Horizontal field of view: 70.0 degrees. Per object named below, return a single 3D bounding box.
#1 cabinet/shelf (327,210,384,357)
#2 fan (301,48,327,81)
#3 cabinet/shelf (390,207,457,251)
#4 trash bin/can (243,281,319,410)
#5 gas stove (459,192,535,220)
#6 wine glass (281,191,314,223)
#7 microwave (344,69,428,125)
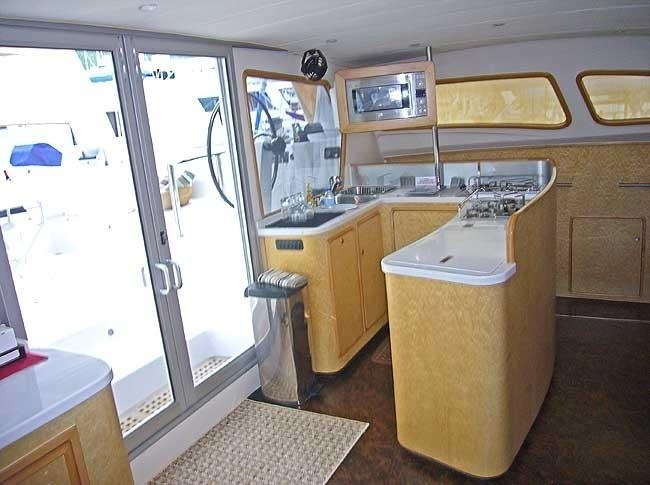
[{"bbox_3d":[0.235,0.356,3.884,0.335,0.987,0.986,-1,16,22],"label":"cabinet/shelf"},{"bbox_3d":[-0.082,-1.525,3.979,0.233,0.278,0.099,9,-1,-11],"label":"fan"},{"bbox_3d":[0.895,-0.015,4.265,0.581,0.586,0.324,1,6,17],"label":"cabinet/shelf"},{"bbox_3d":[-0.325,0.765,3.416,0.386,0.865,0.289,-7,12,-4],"label":"trash bin/can"},{"bbox_3d":[1.336,-0.314,3.633,0.428,0.169,0.665,0,13,32],"label":"gas stove"},{"bbox_3d":[-0.239,-0.307,3.984,0.206,0.101,0.319,-20,12,2],"label":"wine glass"},{"bbox_3d":[0.548,-1.253,4.280,0.792,0.516,0.479,-5,-6,0],"label":"microwave"}]
